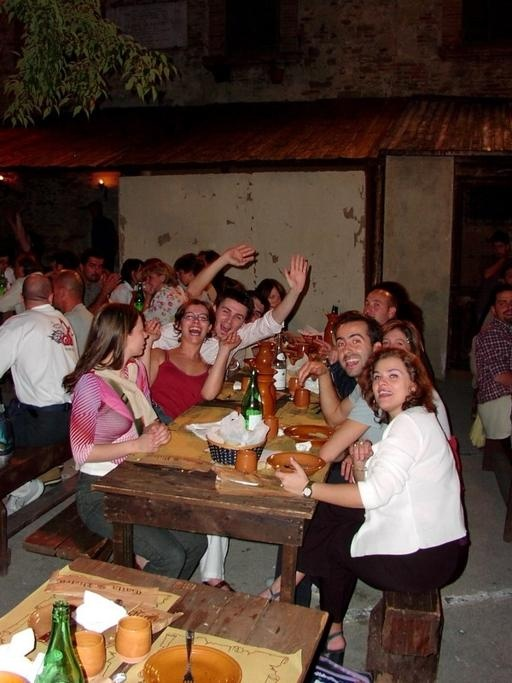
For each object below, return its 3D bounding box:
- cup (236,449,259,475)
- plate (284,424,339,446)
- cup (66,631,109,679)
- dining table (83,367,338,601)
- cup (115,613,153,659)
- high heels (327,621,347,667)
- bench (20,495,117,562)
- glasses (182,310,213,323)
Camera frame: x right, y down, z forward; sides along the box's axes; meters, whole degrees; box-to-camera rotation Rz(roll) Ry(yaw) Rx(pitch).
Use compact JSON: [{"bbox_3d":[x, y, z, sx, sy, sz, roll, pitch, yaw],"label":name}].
[{"bbox_3d":[-0.036,0.486,2.282,0.097,0.087,0.092,1,10,0],"label":"cup"},{"bbox_3d":[0.258,0.468,2.834,0.243,0.036,0.281,1,11,6],"label":"plate"},{"bbox_3d":[-0.383,0.692,1.279,0.084,0.078,0.078,5,17,-1],"label":"cup"},{"bbox_3d":[-0.208,0.714,2.761,0.967,0.317,1.403,5,20,3],"label":"dining table"},{"bbox_3d":[-0.291,0.712,1.347,0.084,0.077,0.084,3,-3,0],"label":"cup"},{"bbox_3d":[0.381,1.429,2.665,0.076,0.083,0.223,1,3,8],"label":"high heels"},{"bbox_3d":[-0.928,1.000,3.024,0.354,0.062,0.623,13,4,2],"label":"bench"},{"bbox_3d":[-0.376,-0.153,3.612,0.093,0.090,0.026,7,51,-12],"label":"glasses"}]
